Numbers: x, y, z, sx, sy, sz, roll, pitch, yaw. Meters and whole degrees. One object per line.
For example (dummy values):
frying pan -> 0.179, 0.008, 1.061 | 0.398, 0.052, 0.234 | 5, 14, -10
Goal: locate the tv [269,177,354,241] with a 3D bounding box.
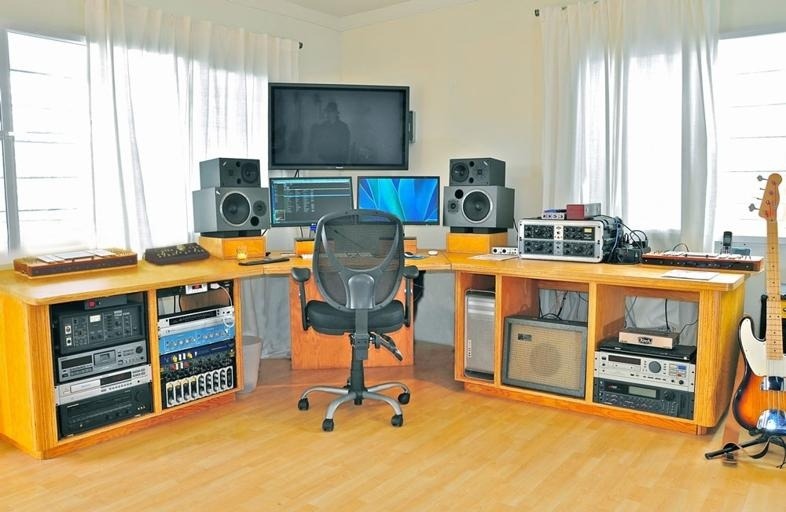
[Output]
tv -> -0.682, -0.444, 4.923 | 0.693, 0.440, 0.168 | -3, 12, -17

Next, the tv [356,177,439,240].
tv -> 0.026, -0.416, 4.756 | 0.578, 0.382, 0.166 | 1, 2, 3

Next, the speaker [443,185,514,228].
speaker -> 0.761, -0.408, 5.124 | 0.720, 0.343, 0.724 | 3, 0, -11

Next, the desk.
desk -> -0.399, 0.610, 5.412 | 1.634, 0.991, 1.616 | -5, -6, 16

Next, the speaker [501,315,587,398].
speaker -> 1.156, 0.717, 4.434 | 0.616, 0.505, 0.369 | 4, 7, 19

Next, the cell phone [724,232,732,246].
cell phone -> 2.408, -0.120, 4.222 | 0.051, 0.104, 0.075 | 3, 12, 21

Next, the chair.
chair -> -0.266, 0.423, 4.267 | 0.895, 1.460, 0.821 | -2, 5, -18

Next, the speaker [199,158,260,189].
speaker -> -1.336, -0.662, 4.702 | 0.315, 0.197, 0.309 | 5, 7, 44

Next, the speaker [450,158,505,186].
speaker -> 0.700, -0.695, 4.882 | 0.431, 0.223, 0.193 | -2, 11, -6
